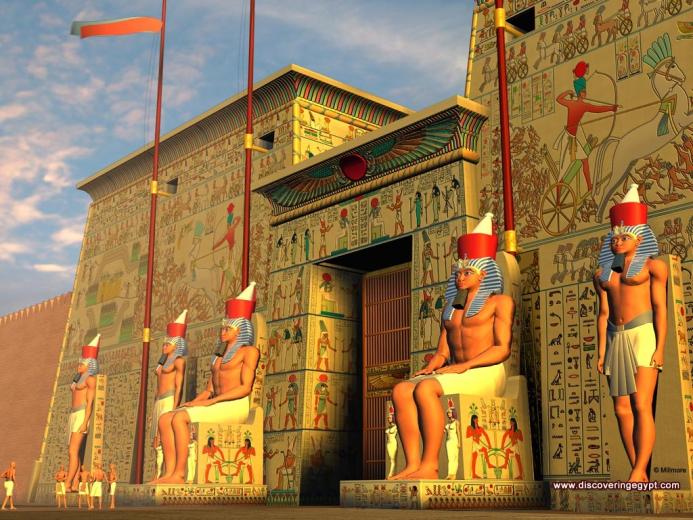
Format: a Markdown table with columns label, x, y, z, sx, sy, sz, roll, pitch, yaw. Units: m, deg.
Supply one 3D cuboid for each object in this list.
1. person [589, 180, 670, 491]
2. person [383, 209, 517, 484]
| label | x | y | z | sx | sy | sz | roll | pitch | yaw |
| --- | --- | --- | --- | --- | --- | --- | --- | --- | --- |
| person | 3.032 | 0.717 | 9.593 | 0.479 | 3.055 | 0.839 | 12 | -26 | -30 |
| person | 1.290 | 1.023 | 10.702 | 1.443 | 3.097 | 0.725 | -5 | -23 | 9 |
